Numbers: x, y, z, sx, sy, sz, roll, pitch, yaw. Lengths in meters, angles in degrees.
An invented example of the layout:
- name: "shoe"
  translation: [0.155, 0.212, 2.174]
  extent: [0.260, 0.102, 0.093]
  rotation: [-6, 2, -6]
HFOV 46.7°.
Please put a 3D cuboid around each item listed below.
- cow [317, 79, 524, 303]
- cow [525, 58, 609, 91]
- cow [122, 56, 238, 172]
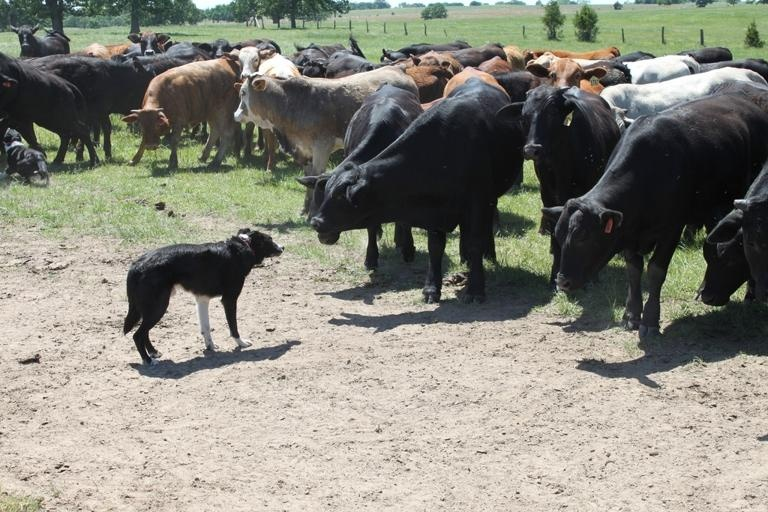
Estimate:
- name: "cow"
  translation: [0.740, -0.837, 12.398]
  extent: [2.959, 2.809, 1.463]
  rotation: [-12, 17, -36]
- name: "cow"
  translation: [3.106, -3.004, 14.616]
  extent: [1.180, 0.597, 0.628]
  rotation: [-12, 16, -40]
- name: "cow"
  translation: [-4.202, -3.248, 19.748]
  extent: [1.493, 2.289, 2.840]
  rotation: [5, 15, 29]
